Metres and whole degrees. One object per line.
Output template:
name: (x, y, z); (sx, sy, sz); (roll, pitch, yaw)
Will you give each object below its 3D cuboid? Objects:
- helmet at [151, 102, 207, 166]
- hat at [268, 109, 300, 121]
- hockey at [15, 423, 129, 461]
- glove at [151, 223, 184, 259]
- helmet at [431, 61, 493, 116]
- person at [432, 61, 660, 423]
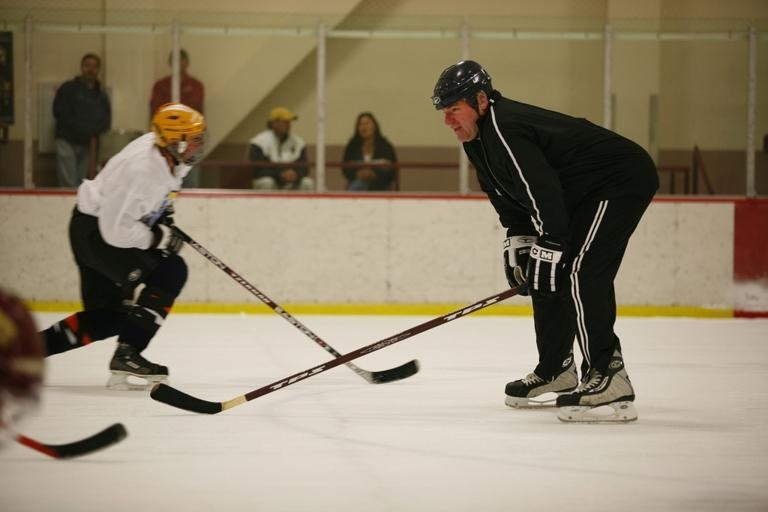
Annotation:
helmet: (-1.063, -0.634, 4.999); (0.337, 0.280, 0.245); (16, 14, 13)
hat: (-0.789, -1.094, 7.252); (0.175, 0.052, 0.104); (1, 14, 21)
hockey: (-1.381, 0.804, 4.104); (0.464, 0.182, 0.283); (-3, 10, -22)
glove: (-1.202, -0.068, 5.102); (0.101, 0.136, 0.201); (-26, -25, 39)
helmet: (0.381, -0.823, 4.587); (0.294, 0.199, 0.229); (-16, 20, -4)
person: (0.814, -0.087, 4.612); (1.007, 1.737, 0.467); (3, 11, 13)
